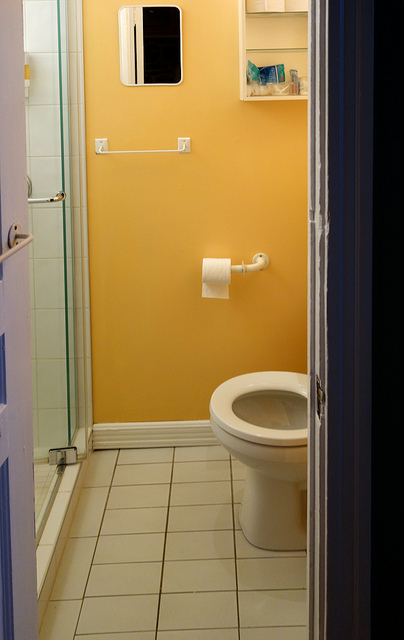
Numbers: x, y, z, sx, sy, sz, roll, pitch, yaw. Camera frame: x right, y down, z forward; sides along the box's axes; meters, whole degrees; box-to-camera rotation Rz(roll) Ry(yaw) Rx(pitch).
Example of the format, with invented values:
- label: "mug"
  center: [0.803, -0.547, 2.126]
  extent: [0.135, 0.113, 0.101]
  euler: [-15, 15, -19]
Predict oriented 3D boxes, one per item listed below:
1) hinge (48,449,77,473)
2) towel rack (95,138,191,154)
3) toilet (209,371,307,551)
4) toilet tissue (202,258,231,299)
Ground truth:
- label: "hinge"
  center: [-0.496, 0.493, 2.021]
  extent: [0.068, 0.091, 0.061]
  euler: [0, 4, 0]
- label: "towel rack"
  center: [-0.226, -0.665, 2.159]
  extent: [0.366, 0.055, 0.025]
  euler: [-2, 10, -2]
- label: "toilet"
  center: [0.154, 0.470, 1.761]
  extent: [0.337, 0.381, 0.466]
  euler: [2, 23, 0]
- label: "toilet tissue"
  center: [0.058, -0.175, 2.175]
  extent: [0.104, 0.189, 0.106]
  euler: [2, 12, 6]
